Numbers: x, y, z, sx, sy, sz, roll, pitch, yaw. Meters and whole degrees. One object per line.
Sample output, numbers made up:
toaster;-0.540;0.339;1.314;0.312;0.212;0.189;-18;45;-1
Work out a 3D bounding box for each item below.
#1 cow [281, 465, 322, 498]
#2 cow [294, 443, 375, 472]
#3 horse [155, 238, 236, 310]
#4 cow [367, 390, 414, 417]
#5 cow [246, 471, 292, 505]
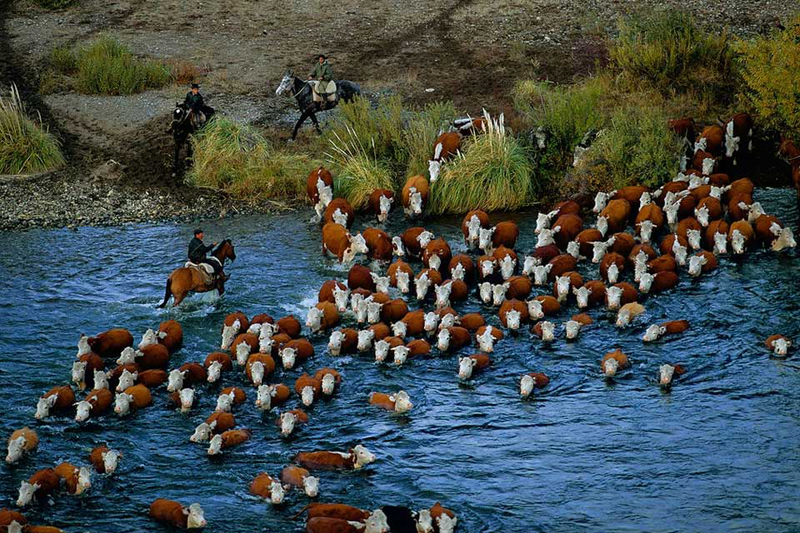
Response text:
cow;-2.350;5.064;29.539;1.007;0.471;0.498;23;34;39
cow;-1.592;4.646;30.085;1.927;0.552;0.491;-3;41;8
horse;-5.703;0.408;35.227;0.673;1.922;3.047;14;22;35
cow;-0.172;3.444;31.541;1.378;0.421;0.720;2;-3;34
cow;-3.094;5.253;29.399;0.585;0.408;0.880;-6;20;-40
